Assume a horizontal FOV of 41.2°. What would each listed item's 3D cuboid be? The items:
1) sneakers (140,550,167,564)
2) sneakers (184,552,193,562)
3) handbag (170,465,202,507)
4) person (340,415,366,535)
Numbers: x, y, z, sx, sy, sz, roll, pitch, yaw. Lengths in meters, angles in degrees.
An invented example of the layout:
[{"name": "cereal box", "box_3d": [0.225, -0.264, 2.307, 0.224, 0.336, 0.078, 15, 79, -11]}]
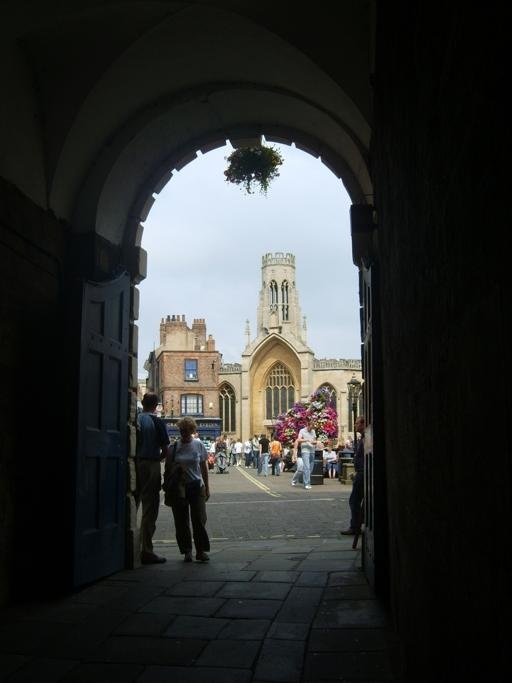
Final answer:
[{"name": "sneakers", "box_3d": [-1.011, 2.146, 6.769, 0.242, 0.110, 0.121, 2, -8, -17]}, {"name": "sneakers", "box_3d": [-0.664, 2.136, 6.744, 0.086, 0.086, 0.298, 0, -9, -5]}, {"name": "handbag", "box_3d": [-0.708, 1.449, 6.801, 0.304, 0.462, 0.271, -4, 2, -14]}, {"name": "person", "box_3d": [1.154, 1.538, 7.812, 0.191, 1.341, 0.316, 5, -2, 4]}]
